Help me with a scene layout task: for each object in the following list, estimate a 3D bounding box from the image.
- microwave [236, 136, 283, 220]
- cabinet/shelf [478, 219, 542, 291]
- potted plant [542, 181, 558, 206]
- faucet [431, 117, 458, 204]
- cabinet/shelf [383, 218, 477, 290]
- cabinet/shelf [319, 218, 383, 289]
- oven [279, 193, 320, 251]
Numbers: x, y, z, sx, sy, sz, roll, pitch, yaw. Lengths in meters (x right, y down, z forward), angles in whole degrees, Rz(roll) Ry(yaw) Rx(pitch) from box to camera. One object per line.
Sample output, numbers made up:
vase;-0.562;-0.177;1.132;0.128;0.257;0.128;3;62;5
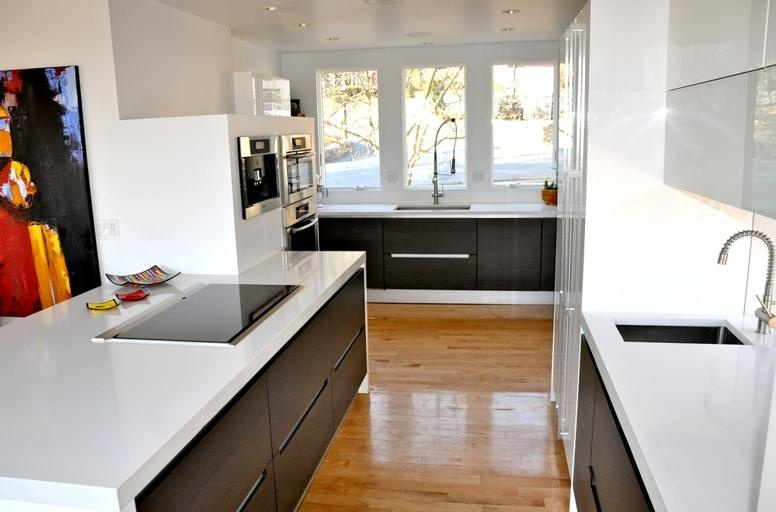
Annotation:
microwave;-0.878;-0.527;3.641;0.188;0.510;0.589;-1;6;5
cabinet/shelf;1.253;-0.047;5.955;0.848;0.970;0.669;0;5;7
potted plant;1.732;-0.682;5.893;0.158;0.244;0.313;1;12;12
faucet;0.641;-1.065;6.123;0.278;0.958;0.330;0;12;5
cabinet/shelf;0.455;-0.050;6.045;1.081;0.771;0.570;1;10;2
cabinet/shelf;-0.381;-0.093;6.228;0.657;0.993;0.693;-1;9;1
oven;-0.748;-0.221;4.437;0.235;0.419;0.450;14;23;31
